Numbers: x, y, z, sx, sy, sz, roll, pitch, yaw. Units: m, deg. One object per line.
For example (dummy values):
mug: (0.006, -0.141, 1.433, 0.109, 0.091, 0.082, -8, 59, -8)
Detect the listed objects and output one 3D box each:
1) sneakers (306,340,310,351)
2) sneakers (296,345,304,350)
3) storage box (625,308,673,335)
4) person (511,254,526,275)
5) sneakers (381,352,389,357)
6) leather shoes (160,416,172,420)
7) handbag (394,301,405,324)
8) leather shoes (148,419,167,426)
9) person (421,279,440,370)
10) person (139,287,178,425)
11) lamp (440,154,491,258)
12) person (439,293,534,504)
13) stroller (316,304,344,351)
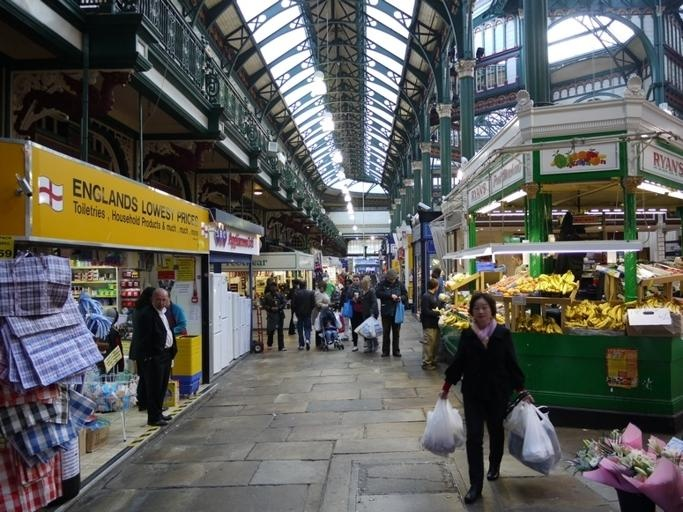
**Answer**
sneakers: (-0.836, 2.253, 14.458, 0.063, 0.203, 0.079, -1, 1, 0)
sneakers: (-1.032, 2.301, 14.475, 0.102, 0.084, 0.285, 1, 0, 2)
storage box: (4.043, 0.849, 7.410, 0.564, 0.364, 0.280, 0, 4, 25)
person: (4.095, 0.158, 13.097, 0.329, 0.473, 1.036, -2, -10, 24)
sneakers: (1.015, 2.199, 12.921, 0.185, 0.086, 0.215, -2, 3, -4)
leather shoes: (-2.535, 2.326, 8.263, 0.133, 0.061, 0.047, -2, 1, -18)
handbag: (1.250, 1.197, 12.369, 0.193, 0.512, 0.221, -1, 3, -2)
leather shoes: (-2.625, 2.358, 8.132, 0.234, 0.110, 0.092, -2, -2, -3)
person: (1.784, 1.323, 11.312, 0.354, 1.759, 0.602, -1, 3, 8)
person: (-2.638, 1.427, 8.184, 0.500, 1.929, 0.317, -3, 4, -28)
lamp: (3.362, -1.260, 15.399, 1.143, 1.459, 3.495, -1, -5, 1)
person: (1.536, 1.451, 6.140, 0.823, 2.129, 0.483, -2, 3, -17)
stroller: (-0.293, 1.809, 14.471, 0.680, 1.079, 0.829, -2, 3, -5)
